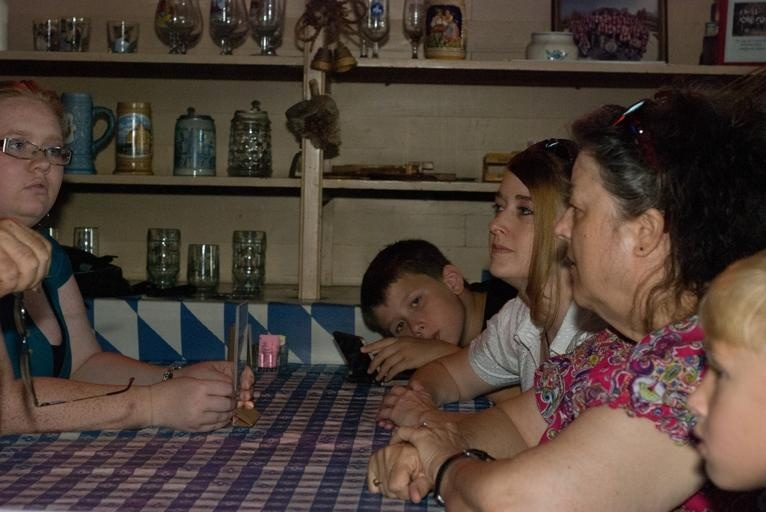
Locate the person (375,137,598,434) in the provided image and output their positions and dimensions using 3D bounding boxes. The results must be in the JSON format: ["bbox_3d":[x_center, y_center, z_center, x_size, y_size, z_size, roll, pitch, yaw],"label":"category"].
[{"bbox_3d":[0.320,0.133,2.014,0.703,0.828,0.369,3,6,16],"label":"person"}]

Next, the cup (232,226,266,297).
[{"bbox_3d":[-0.507,0.028,2.710,0.157,0.227,0.160,-3,-19,-1],"label":"cup"}]

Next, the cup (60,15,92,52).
[{"bbox_3d":[-1.150,-0.831,2.695,0.114,0.124,0.116,0,11,0],"label":"cup"}]

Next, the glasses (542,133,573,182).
[{"bbox_3d":[0.472,-0.256,1.903,0.109,0.033,0.092,33,22,-27],"label":"glasses"}]

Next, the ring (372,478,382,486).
[{"bbox_3d":[-0.014,0.457,1.461,0.011,0.006,0.013,-5,27,-5],"label":"ring"}]

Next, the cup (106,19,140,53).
[{"bbox_3d":[-0.977,-0.807,2.690,0.117,0.113,0.116,7,5,-1],"label":"cup"}]

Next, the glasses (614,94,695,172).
[{"bbox_3d":[0.526,-0.259,1.413,0.124,0.159,0.064,-21,-36,29],"label":"glasses"}]

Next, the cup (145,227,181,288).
[{"bbox_3d":[-0.845,0.012,2.723,0.151,0.181,0.148,0,0,0],"label":"cup"}]

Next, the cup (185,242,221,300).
[{"bbox_3d":[-0.669,0.025,2.644,0.116,0.180,0.118,4,16,-1],"label":"cup"}]

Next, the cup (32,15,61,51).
[{"bbox_3d":[-1.253,-0.825,2.654,0.083,0.130,0.087,8,33,-5],"label":"cup"}]
